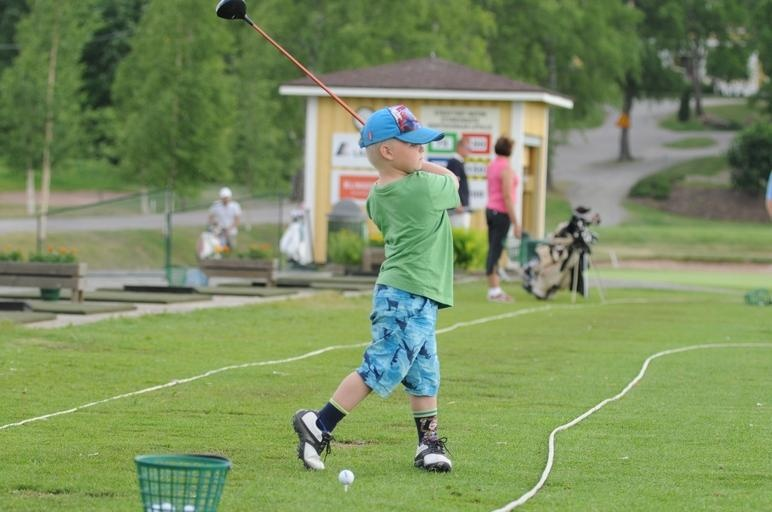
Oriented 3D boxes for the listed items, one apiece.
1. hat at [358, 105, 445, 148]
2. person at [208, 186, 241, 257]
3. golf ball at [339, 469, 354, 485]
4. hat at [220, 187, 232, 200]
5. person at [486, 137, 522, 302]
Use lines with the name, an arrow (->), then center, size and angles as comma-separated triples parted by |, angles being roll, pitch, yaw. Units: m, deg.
hat -> 0.159, -1.588, 22.303 | 0.842, 0.318, 0.524 | -2, 8, 5
person -> -2.711, -0.626, 30.973 | 0.570, 1.041, 0.330 | -3, 4, -13
golf ball -> -0.456, 2.600, 21.744 | 0.125, 0.115, 0.162 | -8, 41, -22
hat -> -2.675, -1.062, 30.912 | 0.162, 0.185, 0.216 | -1, 15, 4
person -> 1.938, -0.633, 30.189 | 0.553, 2.689, 1.033 | -2, 4, 3
